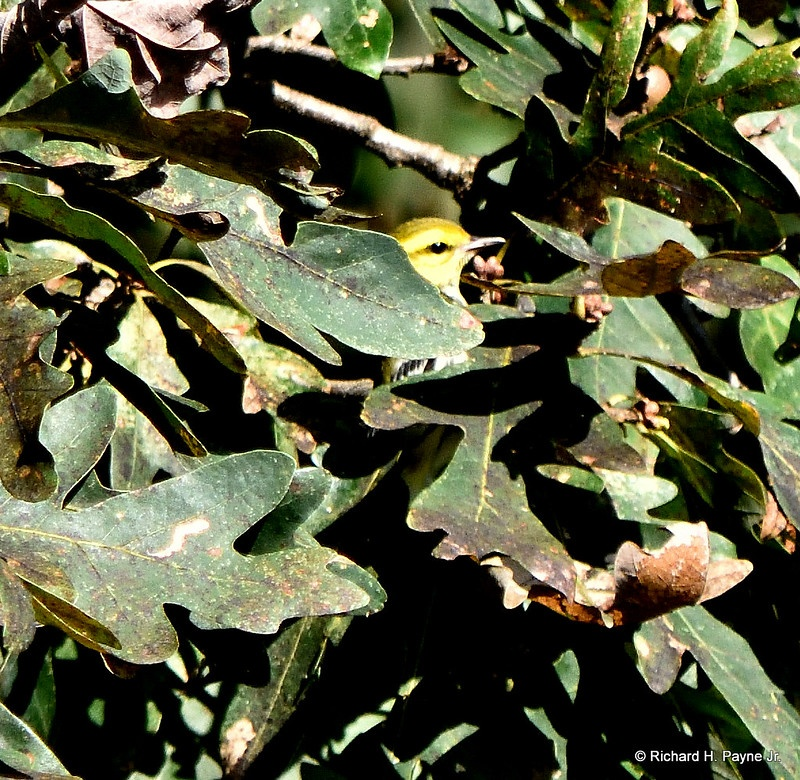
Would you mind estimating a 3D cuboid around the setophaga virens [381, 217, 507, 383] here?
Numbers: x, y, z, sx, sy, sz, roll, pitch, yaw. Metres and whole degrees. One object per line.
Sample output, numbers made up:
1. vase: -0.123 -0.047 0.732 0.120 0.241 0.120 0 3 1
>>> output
1. setophaga virens: 0.073 -0.206 2.798 0.293 0.456 0.168 4 50 9
